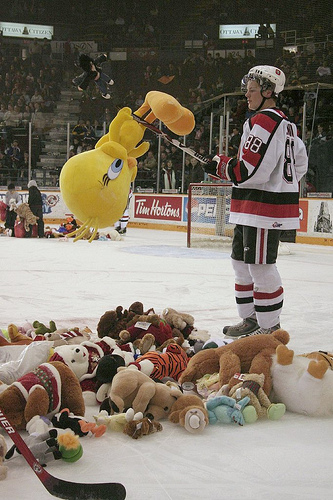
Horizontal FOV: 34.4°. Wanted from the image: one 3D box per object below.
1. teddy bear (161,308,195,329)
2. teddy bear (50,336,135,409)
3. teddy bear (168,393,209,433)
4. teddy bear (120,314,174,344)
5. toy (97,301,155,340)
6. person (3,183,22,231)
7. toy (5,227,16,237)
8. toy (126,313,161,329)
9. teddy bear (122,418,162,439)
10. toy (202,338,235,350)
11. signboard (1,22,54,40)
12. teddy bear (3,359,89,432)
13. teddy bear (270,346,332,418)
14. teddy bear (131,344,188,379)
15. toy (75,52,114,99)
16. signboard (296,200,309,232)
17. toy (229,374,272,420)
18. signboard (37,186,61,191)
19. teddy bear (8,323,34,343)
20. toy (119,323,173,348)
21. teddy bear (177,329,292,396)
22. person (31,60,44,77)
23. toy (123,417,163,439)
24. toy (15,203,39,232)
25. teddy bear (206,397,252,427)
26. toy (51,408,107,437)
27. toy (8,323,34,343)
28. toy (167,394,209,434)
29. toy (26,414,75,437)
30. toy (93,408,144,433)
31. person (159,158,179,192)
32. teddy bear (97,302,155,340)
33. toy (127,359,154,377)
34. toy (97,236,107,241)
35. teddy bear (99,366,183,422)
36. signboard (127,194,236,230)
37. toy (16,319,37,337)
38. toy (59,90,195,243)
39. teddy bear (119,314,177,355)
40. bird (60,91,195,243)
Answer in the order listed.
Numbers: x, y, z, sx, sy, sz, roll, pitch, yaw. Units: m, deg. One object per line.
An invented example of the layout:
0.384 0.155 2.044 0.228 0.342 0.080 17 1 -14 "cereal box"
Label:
0.070 0.396 3.099 0.154 0.055 0.110 24 5 2 "teddy bear"
-0.329 0.503 2.375 0.307 0.106 0.233 1 21 -3 "teddy bear"
0.096 0.611 2.054 0.172 0.090 0.205 -4 11 -5 "teddy bear"
-0.090 0.396 2.848 0.171 0.081 0.211 4 6 32 "teddy bear"
-0.229 0.400 2.979 0.229 0.084 0.224 -17 8 31 "toy"
-3.769 -1.047 13.208 0.349 1.159 0.989 2 2 -16 "person"
-3.796 -0.433 13.087 0.321 0.265 0.260 -1 -2 11 "toy"
-0.126 0.369 2.875 0.140 0.038 0.089 -15 17 20 "toy"
-0.078 0.626 1.909 0.100 0.039 0.061 -1 2 -40 "teddy bear"
0.267 0.466 2.782 0.179 0.064 0.062 -9 10 -37 "toy"
-6.427 -9.952 24.356 1.768 0.367 0.274 2 -6 -9 "signboard"
-0.438 0.531 2.015 0.202 0.148 0.294 25 30 27 "teddy bear"
0.545 0.544 2.221 0.262 0.266 0.174 3 2 18 "teddy bear"
-0.050 0.539 2.540 0.177 0.176 0.414 -12 -14 39 "teddy bear"
-0.348 -0.866 2.706 0.154 0.234 0.184 9 18 -4 "toy"
2.852 -0.715 11.321 0.222 0.671 0.464 3 2 13 "signboard"
0.336 0.579 2.159 0.172 0.156 0.073 3 -35 45 "toy"
-3.474 -1.799 15.799 0.568 0.169 0.847 2 2 -18 "signboard"
-0.768 0.433 2.824 0.123 0.082 0.151 1 2 -21 "teddy bear"
-0.110 0.450 2.844 0.206 0.064 0.122 1 6 -1 "toy"
0.318 0.515 2.480 0.583 0.187 0.374 -14 -3 -8 "teddy bear"
-5.381 -7.517 22.234 0.508 0.811 0.506 3 2 1 "person"
-0.077 0.627 1.910 0.100 0.039 0.062 0 5 -40 "toy"
-3.243 -0.752 12.549 0.490 0.662 0.308 3 3 20 "toy"
0.242 0.619 2.087 0.154 0.062 0.094 9 13 4 "teddy bear"
-0.303 0.599 1.856 0.139 0.057 0.110 15 -9 31 "toy"
-0.779 0.439 2.837 0.124 0.098 0.077 15 -8 -20 "toy"
0.098 0.613 2.055 0.183 0.092 0.217 -2 8 -4 "toy"
-0.400 0.601 1.842 0.143 0.053 0.090 -3 -5 9 "toy"
-0.179 0.614 1.986 0.151 0.086 0.063 17 26 15 "toy"
0.031 -2.026 14.761 0.614 0.813 0.262 4 3 38 "person"
-0.248 0.401 2.976 0.224 0.088 0.218 -25 6 -33 "teddy bear"
-0.110 0.513 2.337 0.083 0.031 0.078 6 -3 -24 "toy"
-1.433 -0.262 12.020 0.145 0.092 0.177 -4 -3 6 "toy"
-0.099 0.569 2.140 0.280 0.168 0.199 19 -32 -7 "teddy bear"
0.400 -1.157 14.955 3.623 0.658 0.047 -1 9 -32 "signboard"
-0.781 0.439 3.019 0.079 0.087 0.046 -4 -8 18 "toy"
-0.225 -0.426 2.704 0.568 0.812 0.320 10 -9 -13 "toy"
-0.123 0.435 2.790 0.198 0.104 0.246 11 -2 17 "teddy bear"
-0.230 -0.431 2.717 0.582 0.823 0.331 11 -14 -12 "bird"
